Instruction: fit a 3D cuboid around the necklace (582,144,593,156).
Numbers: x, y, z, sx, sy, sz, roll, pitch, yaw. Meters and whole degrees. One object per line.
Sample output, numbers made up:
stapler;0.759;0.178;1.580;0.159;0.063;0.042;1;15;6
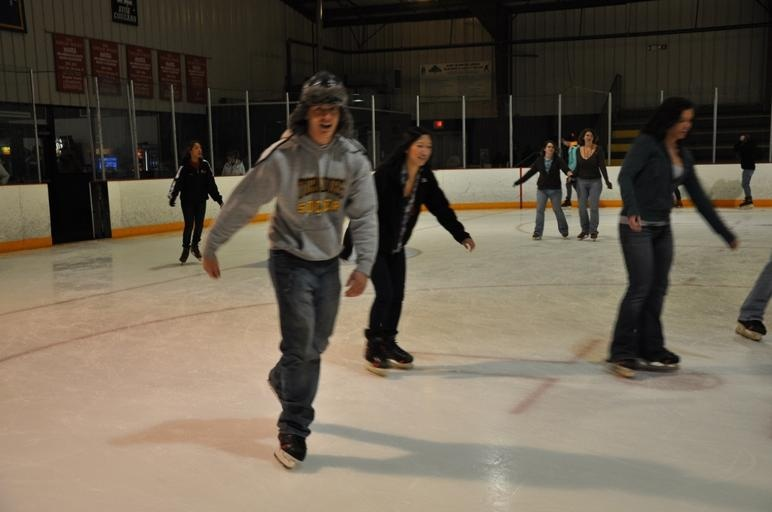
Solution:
necklace;4.008;-2.108;11.170;0.194;0.184;0.206;15;-24;21

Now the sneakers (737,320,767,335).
sneakers;3.279;0.627;5.079;0.097;0.108;0.238;2;16;-32

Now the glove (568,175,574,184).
glove;4.007;-1.693;12.202;0.133;0.168;0.313;-3;-11;18

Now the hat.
hat;-0.391;-0.915;3.332;0.411;0.362;0.370;-2;-3;-14

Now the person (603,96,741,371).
person;2.175;-0.176;4.490;0.921;2.129;0.484;-8;13;-28

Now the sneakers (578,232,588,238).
sneakers;3.938;-0.428;11.278;0.184;0.151;0.303;2;12;18

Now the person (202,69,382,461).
person;-0.519;0.070;3.353;0.973;2.281;0.552;-2;11;-2
